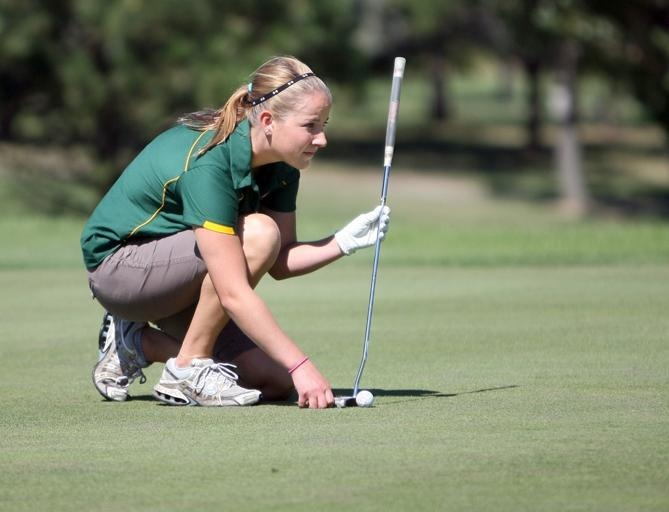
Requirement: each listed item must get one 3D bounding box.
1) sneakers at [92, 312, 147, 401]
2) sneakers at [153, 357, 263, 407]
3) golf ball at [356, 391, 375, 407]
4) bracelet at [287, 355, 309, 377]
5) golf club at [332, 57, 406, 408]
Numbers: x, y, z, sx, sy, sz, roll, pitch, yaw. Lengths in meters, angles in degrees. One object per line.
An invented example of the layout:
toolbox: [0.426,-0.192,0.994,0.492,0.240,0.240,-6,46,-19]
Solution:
sneakers: [-0.949,0.472,5.271,0.232,0.441,0.158,-8,-19,18]
sneakers: [-0.558,0.552,5.112,0.430,0.168,0.205,2,-2,-1]
golf ball: [0.120,0.609,4.989,0.070,0.064,0.068,-21,-18,-7]
bracelet: [-0.162,0.464,4.885,0.074,0.017,0.074,-30,6,-2]
golf club: [0.159,-0.172,5.374,0.366,1.732,0.129,5,12,9]
